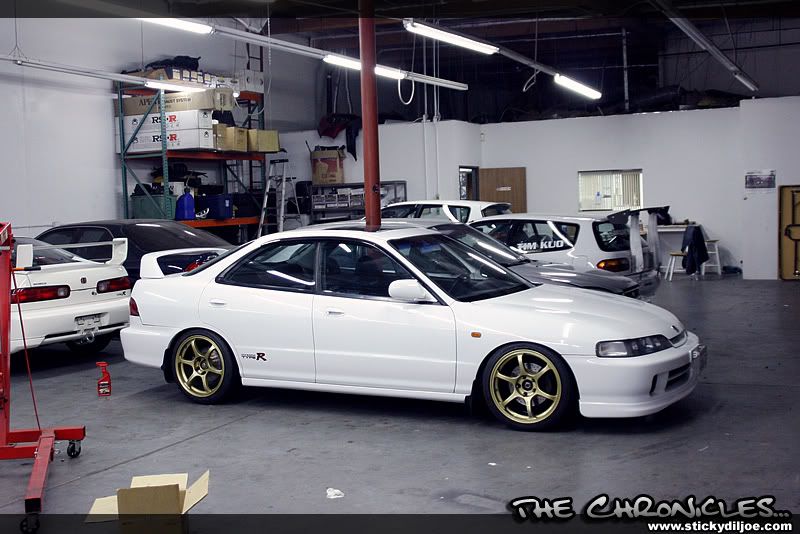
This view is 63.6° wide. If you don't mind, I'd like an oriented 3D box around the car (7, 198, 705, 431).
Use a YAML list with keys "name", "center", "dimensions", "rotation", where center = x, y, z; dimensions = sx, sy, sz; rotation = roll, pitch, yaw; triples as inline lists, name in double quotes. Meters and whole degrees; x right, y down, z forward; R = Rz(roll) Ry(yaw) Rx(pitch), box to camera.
- name: "car"
  center: [-0.074, 0.258, 6.884]
  dimensions: [5.154, 1.537, 2.270]
  rotation: [-1, 5, 18]

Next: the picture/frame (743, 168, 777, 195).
- name: "picture/frame"
  center: [9.224, -2.075, 16.538]
  dimensions: [0.834, 0.540, 0.467]
  rotation: [1, 1, 29]

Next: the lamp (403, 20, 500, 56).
- name: "lamp"
  center: [1.481, -6.522, 18.246]
  dimensions: [0.555, 0.368, 3.319]
  rotation: [12, 5, 39]

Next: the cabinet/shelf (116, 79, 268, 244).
- name: "cabinet/shelf"
  center: [-5.375, -2.713, 16.359]
  dimensions: [1.460, 4.399, 4.847]
  rotation: [8, 12, 41]

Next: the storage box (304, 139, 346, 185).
- name: "storage box"
  center: [-2.142, -3.329, 20.494]
  dimensions: [1.405, 1.762, 1.222]
  rotation: [1, 12, 15]

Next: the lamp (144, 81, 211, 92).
- name: "lamp"
  center: [-5.572, -4.448, 15.960]
  dimensions: [1.548, 0.231, 0.783]
  rotation: [-8, 11, -36]

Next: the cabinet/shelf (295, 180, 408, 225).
- name: "cabinet/shelf"
  center: [-1.228, -1.734, 16.999]
  dimensions: [2.048, 1.762, 0.651]
  rotation: [1, 7, 14]

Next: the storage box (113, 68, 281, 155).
- name: "storage box"
  center: [-5.377, -4.020, 16.767]
  dimensions: [3.517, 2.082, 1.761]
  rotation: [-6, 9, -29]
